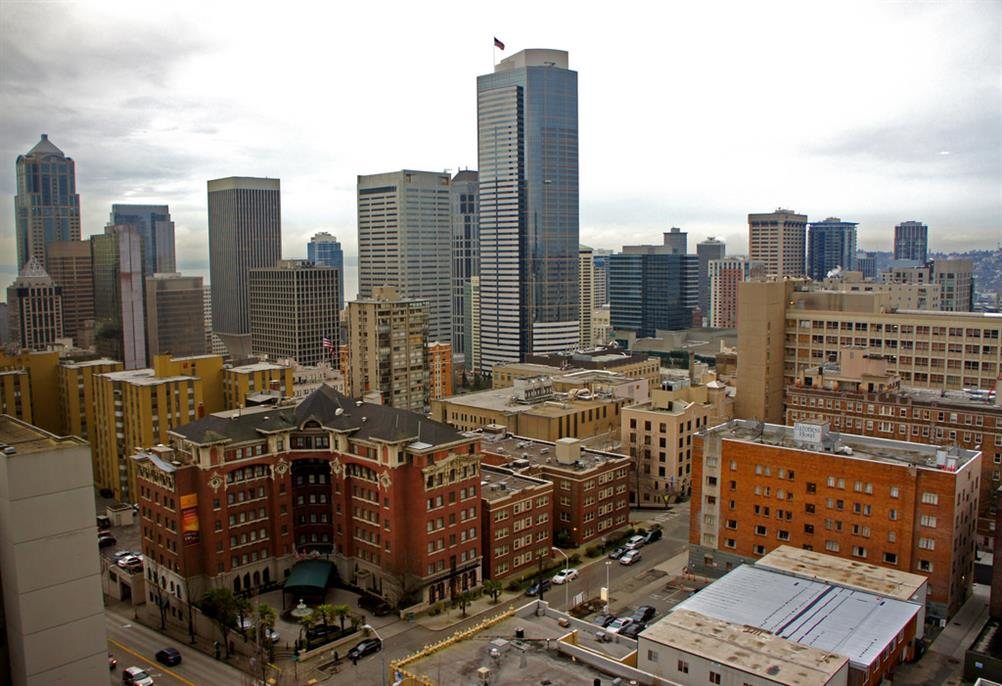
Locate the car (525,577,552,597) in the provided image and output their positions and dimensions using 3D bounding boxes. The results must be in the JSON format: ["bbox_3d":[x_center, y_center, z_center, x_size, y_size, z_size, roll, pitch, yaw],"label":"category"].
[{"bbox_3d":[5.586,36.094,126.584,2.782,1.594,4.753,4,8,35],"label":"car"}]

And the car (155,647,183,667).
[{"bbox_3d":[-44.947,42.313,115.009,3.606,1.466,2.644,3,8,33],"label":"car"}]

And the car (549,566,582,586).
[{"bbox_3d":[10.037,35.269,129.287,4.099,1.270,1.905,-7,6,-42],"label":"car"}]
